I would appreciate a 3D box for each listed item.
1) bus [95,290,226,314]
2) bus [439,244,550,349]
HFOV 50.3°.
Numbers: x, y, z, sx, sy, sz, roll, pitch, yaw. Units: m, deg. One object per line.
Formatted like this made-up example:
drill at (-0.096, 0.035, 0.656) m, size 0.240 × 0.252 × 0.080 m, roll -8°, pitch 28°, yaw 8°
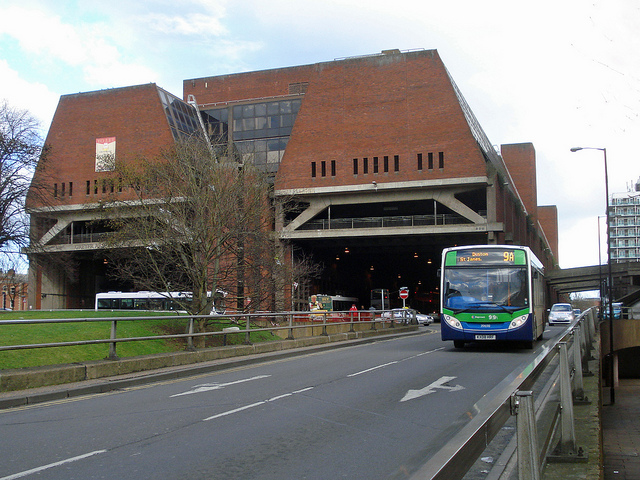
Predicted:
bus at (-10.447, 4.092, 44.260) m, size 9.293 × 2.511 × 2.080 m, roll -1°, pitch -5°, yaw 6°
bus at (6.110, 1.866, 23.624) m, size 2.278 × 2.852 × 7.773 m, roll -1°, pitch -3°, yaw 25°
